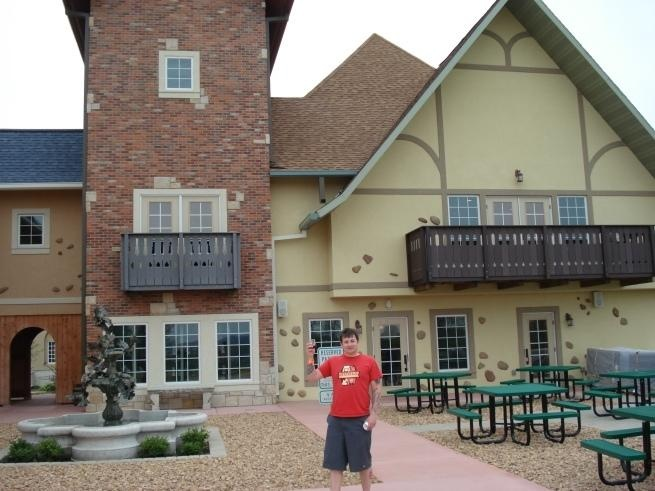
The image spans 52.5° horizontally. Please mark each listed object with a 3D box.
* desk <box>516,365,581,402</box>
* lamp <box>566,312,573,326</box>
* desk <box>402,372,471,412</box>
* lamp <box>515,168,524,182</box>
[{"bbox_3d":[6.143,3.864,18.620,1.691,0.931,1.627,4,-10,-27],"label":"desk"},{"bbox_3d":[8.148,2.486,22.457,0.248,0.455,0.114,-1,-9,-4],"label":"lamp"},{"bbox_3d":[2.799,4.154,18.981,1.345,0.718,1.503,-10,-13,25],"label":"desk"},{"bbox_3d":[6.459,-2.378,22.280,0.330,0.461,0.231,0,-9,-11],"label":"lamp"}]
